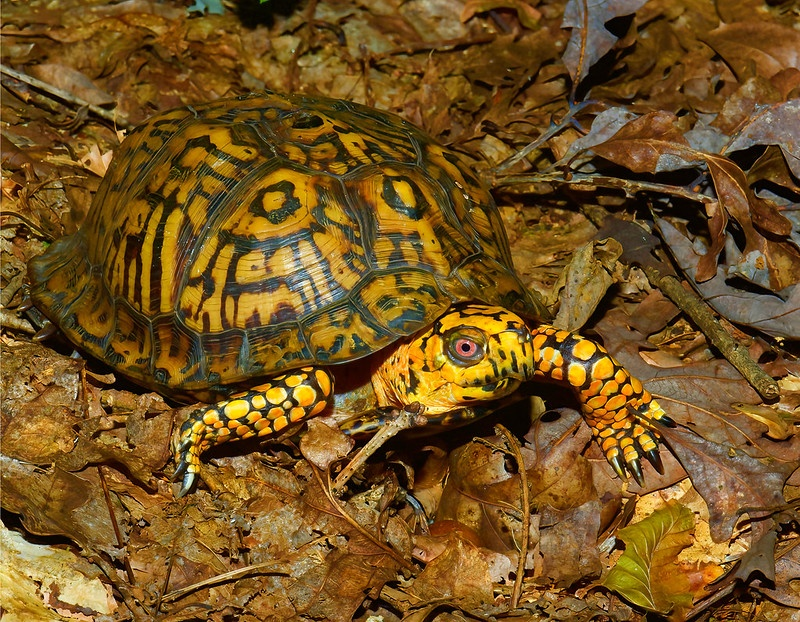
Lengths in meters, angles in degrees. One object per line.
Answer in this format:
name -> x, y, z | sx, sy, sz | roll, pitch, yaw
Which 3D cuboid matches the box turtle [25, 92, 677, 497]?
box turtle -> -0.679, -0.114, 5.318 | 2.951, 3.633, 2.173 | -6, -67, -21
